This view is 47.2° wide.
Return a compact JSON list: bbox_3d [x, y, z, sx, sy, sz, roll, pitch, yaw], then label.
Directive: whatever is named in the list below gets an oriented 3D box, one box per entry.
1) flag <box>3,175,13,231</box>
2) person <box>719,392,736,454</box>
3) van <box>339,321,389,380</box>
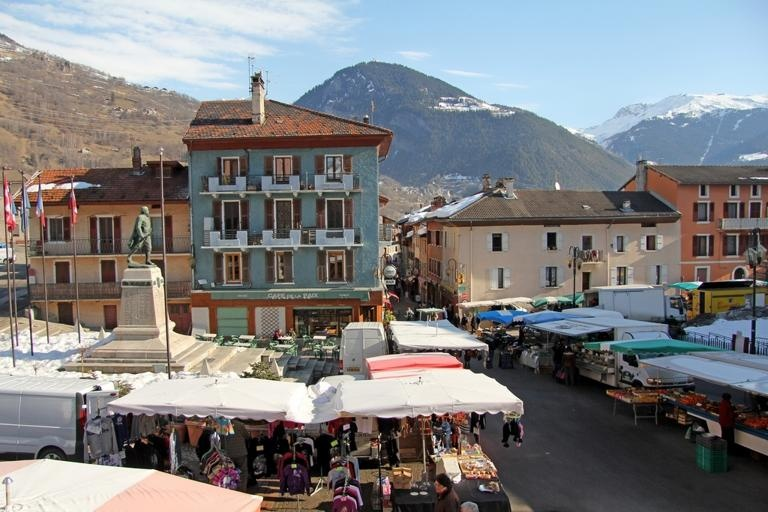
[{"bbox_3d":[-23.055,-3.214,53.969,0.551,3.437,6.866,-2,-1,-24],"label":"flag"},{"bbox_3d":[16.877,8.128,42.786,0.819,2.880,0.763,-3,-1,-2],"label":"person"},{"bbox_3d":[-0.782,5.244,51.300,3.046,2.679,5.167,1,4,4],"label":"van"}]
